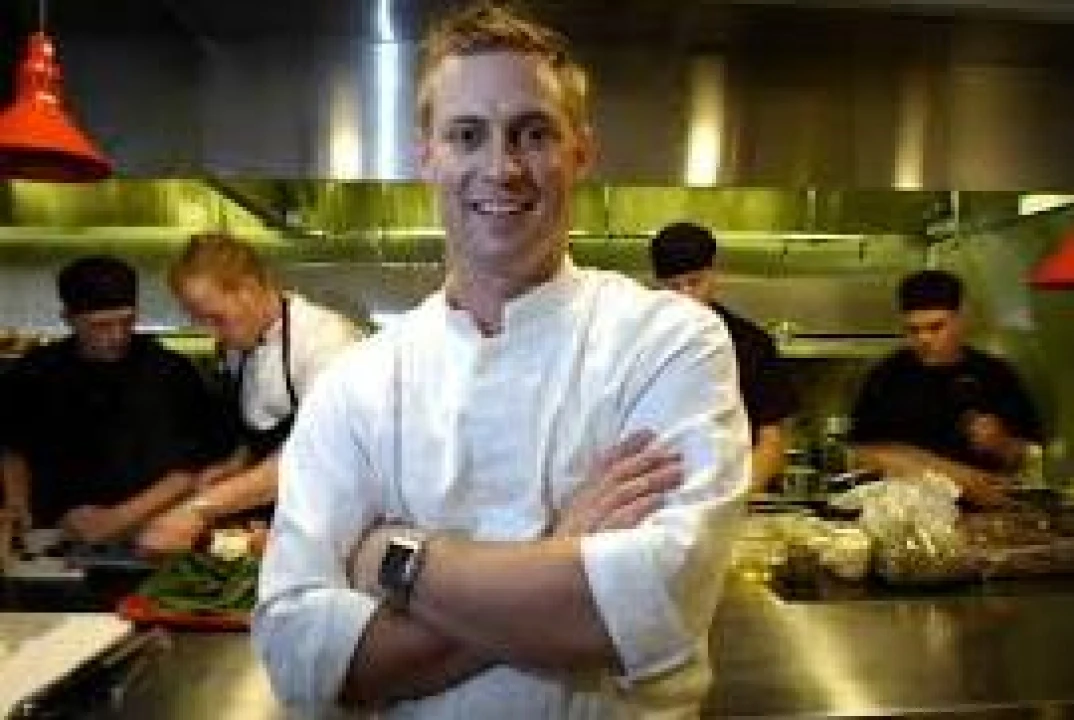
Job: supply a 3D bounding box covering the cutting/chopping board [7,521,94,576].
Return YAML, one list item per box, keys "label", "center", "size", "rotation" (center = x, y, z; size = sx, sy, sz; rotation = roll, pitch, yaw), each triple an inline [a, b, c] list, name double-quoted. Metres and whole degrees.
- label: "cutting/chopping board"
  center: [-1.503, 0.584, 2.848]
  size: [0.195, 0.064, 0.149]
  rotation: [-1, 1, -12]

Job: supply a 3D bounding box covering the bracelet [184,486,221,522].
- label: "bracelet"
  center: [-1.051, 0.457, 2.935]
  size: [0.024, 0.092, 0.087]
  rotation: [-41, 45, 3]

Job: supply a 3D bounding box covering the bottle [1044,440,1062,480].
- label: "bottle"
  center: [2.383, 0.462, 4.282]
  size: [0.090, 0.177, 0.080]
  rotation: [0, 7, 24]

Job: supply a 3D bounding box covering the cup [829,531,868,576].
- label: "cup"
  center: [0.912, 0.564, 2.706]
  size: [0.077, 0.087, 0.134]
  rotation: [0, -5, -7]

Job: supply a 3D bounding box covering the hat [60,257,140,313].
- label: "hat"
  center: [-1.768, -0.299, 3.792]
  size: [0.297, 0.172, 0.279]
  rotation: [-2, 4, -16]

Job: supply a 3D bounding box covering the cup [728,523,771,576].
- label: "cup"
  center: [0.624, 0.570, 2.762]
  size: [0.150, 0.105, 0.144]
  rotation: [3, -3, 0]

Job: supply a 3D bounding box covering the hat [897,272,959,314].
- label: "hat"
  center: [1.497, -0.252, 3.589]
  size: [0.188, 0.116, 0.179]
  rotation: [1, -3, 6]

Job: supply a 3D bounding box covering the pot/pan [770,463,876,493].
- label: "pot/pan"
  center: [1.333, 0.573, 4.437]
  size: [0.360, 0.108, 0.210]
  rotation: [-1, -2, 5]

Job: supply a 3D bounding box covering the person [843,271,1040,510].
- label: "person"
  center: [1.580, 0.103, 3.600]
  size: [0.703, 0.895, 0.379]
  rotation: [-1, 7, 19]

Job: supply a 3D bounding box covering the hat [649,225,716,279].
- label: "hat"
  center: [0.539, -0.395, 3.435]
  size: [0.219, 0.157, 0.211]
  rotation: [-8, -2, 5]
